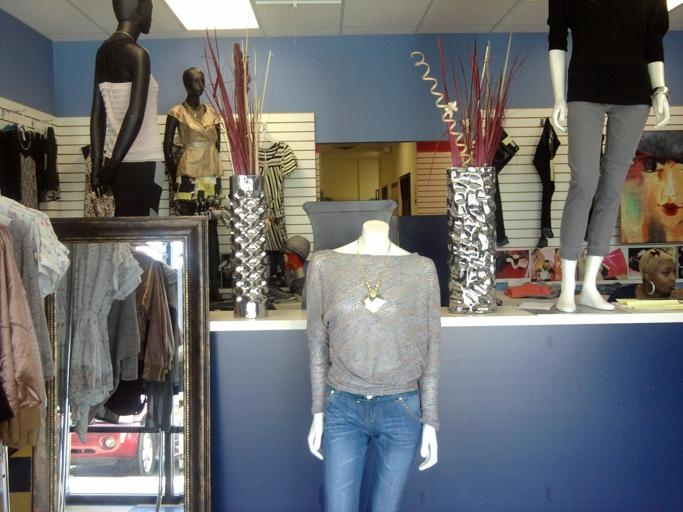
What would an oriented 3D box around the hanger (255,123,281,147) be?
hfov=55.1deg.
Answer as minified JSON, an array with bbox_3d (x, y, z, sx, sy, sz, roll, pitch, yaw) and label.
[{"bbox_3d":[-0.764,-1.242,6.720,0.189,0.276,0.505,-1,3,10],"label":"hanger"}]

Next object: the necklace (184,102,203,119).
[{"bbox_3d":[-1.311,-1.299,5.877,0.154,0.157,0.045,2,17,-6],"label":"necklace"}]

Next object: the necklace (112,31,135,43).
[{"bbox_3d":[-1.317,-1.327,3.961,0.115,0.063,0.045,-2,3,-18],"label":"necklace"}]

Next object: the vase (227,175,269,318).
[{"bbox_3d":[-0.537,-0.057,3.772,0.197,0.814,0.079,-1,2,-12],"label":"vase"}]

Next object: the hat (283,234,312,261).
[{"bbox_3d":[-0.391,-0.082,5.572,0.160,0.222,0.227,11,5,41],"label":"hat"}]

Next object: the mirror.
[{"bbox_3d":[-1.076,0.591,3.692,0.678,1.625,0.131,-1,2,11],"label":"mirror"}]

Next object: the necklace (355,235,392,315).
[{"bbox_3d":[0.150,0.106,3.166,0.147,0.422,0.030,6,38,13],"label":"necklace"}]
